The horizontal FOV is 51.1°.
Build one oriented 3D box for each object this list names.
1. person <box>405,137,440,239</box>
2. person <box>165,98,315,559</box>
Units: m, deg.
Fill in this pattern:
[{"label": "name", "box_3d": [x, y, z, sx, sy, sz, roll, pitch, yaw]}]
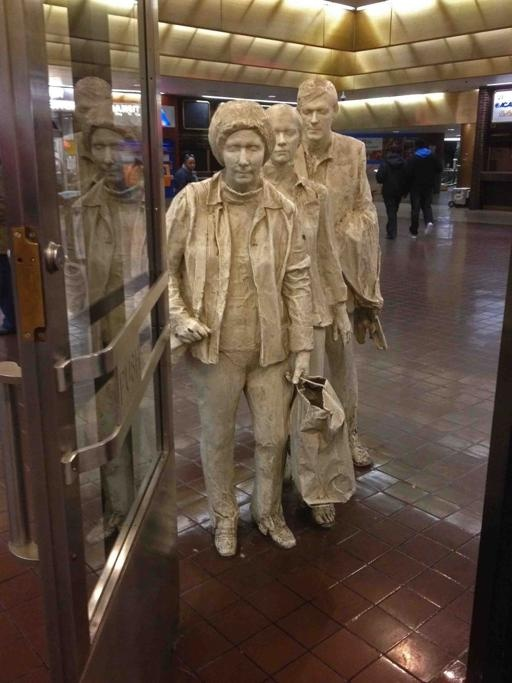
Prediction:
[{"label": "person", "box_3d": [4.751, -4.340, 15.309, 0.854, 2.599, 1.070, 4, 14, 16]}, {"label": "person", "box_3d": [-0.060, -0.004, 2.750, 0.743, 2.287, 0.323, -3, 13, -10]}]
